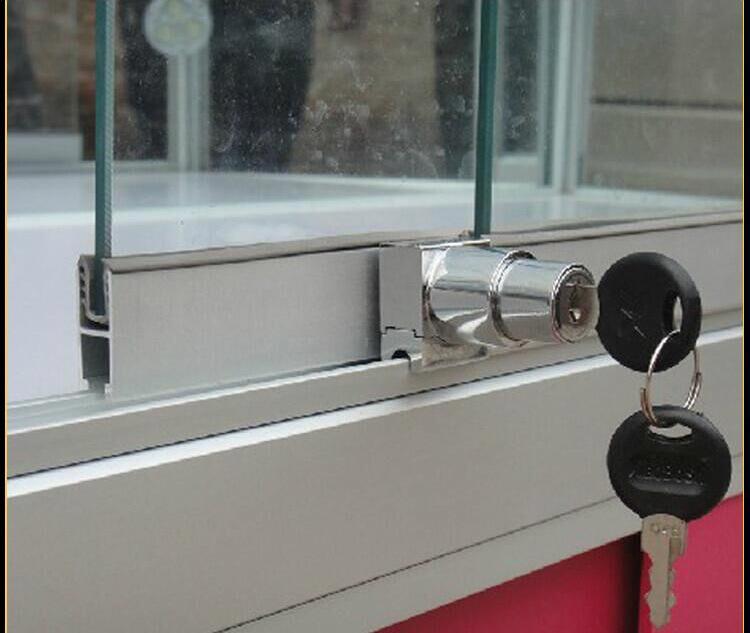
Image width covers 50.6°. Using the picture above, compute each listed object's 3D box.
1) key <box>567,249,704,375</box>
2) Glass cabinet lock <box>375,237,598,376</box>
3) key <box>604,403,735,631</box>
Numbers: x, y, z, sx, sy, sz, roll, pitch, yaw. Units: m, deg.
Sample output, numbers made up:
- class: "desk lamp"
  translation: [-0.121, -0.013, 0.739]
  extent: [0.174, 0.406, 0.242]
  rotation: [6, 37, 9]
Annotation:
- class: "key"
  translation: [0.129, -0.003, 0.378]
  extent: [0.050, 0.063, 0.013]
  rotation: [4, 5, 44]
- class: "Glass cabinet lock"
  translation: [0.059, -0.008, 0.410]
  extent: [0.104, 0.079, 0.058]
  rotation: [7, 10, 44]
- class: "key"
  translation: [0.154, 0.107, 0.409]
  extent: [0.057, 0.116, 0.095]
  rotation: [-7, -11, 21]
